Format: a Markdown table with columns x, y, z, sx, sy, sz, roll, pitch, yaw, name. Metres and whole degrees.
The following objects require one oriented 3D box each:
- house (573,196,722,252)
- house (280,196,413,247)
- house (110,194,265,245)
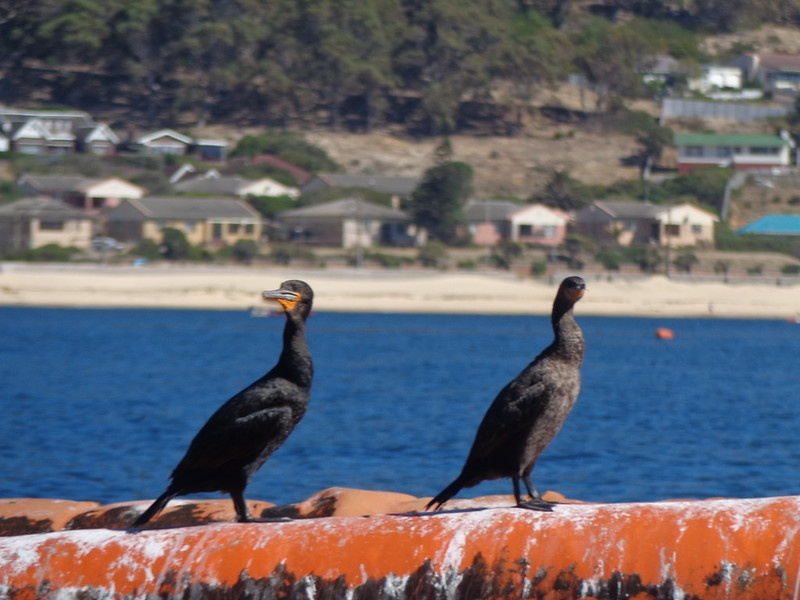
| x | y | z | sx | sy | sz | roll | pitch | yaw | name |
| --- | --- | --- | --- | --- | --- | --- | --- | --- | --- |
| 14.454 | -4.543 | 130.837 | 8.581 | 2.576 | 3.893 | 0 | 5 | -2 | house |
| -3.066 | -4.368 | 126.064 | 5.766 | 1.441 | 3.700 | -1 | 8 | -14 | house |
| -11.651 | -4.582 | 123.028 | 6.538 | 1.601 | 3.670 | -2 | 9 | -19 | house |
